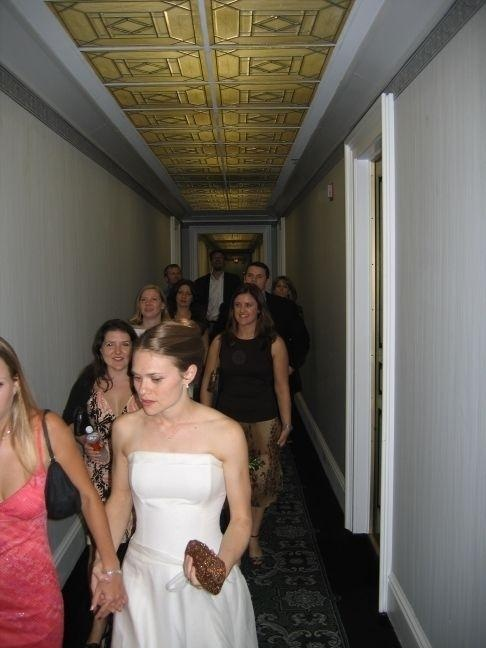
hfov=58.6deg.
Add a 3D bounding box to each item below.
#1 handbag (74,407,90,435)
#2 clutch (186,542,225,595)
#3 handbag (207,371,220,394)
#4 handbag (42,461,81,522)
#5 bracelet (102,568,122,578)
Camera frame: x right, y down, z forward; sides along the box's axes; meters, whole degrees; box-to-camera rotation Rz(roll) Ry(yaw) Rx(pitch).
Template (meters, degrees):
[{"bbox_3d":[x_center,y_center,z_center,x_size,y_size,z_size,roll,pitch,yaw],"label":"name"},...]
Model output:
[{"bbox_3d":[-0.950,0.560,2.548,0.042,0.172,0.118,3,-1,-34],"label":"handbag"},{"bbox_3d":[-0.102,0.578,1.054,0.105,0.055,0.149,20,-3,-18],"label":"clutch"},{"bbox_3d":[-0.212,0.416,3.163,0.050,0.158,0.119,16,-14,3],"label":"handbag"},{"bbox_3d":[-0.544,0.488,1.285,0.076,0.162,0.148,-11,-11,-17],"label":"handbag"},{"bbox_3d":[-0.392,0.734,1.283,0.029,0.018,0.039,6,-19,-29],"label":"bracelet"}]
